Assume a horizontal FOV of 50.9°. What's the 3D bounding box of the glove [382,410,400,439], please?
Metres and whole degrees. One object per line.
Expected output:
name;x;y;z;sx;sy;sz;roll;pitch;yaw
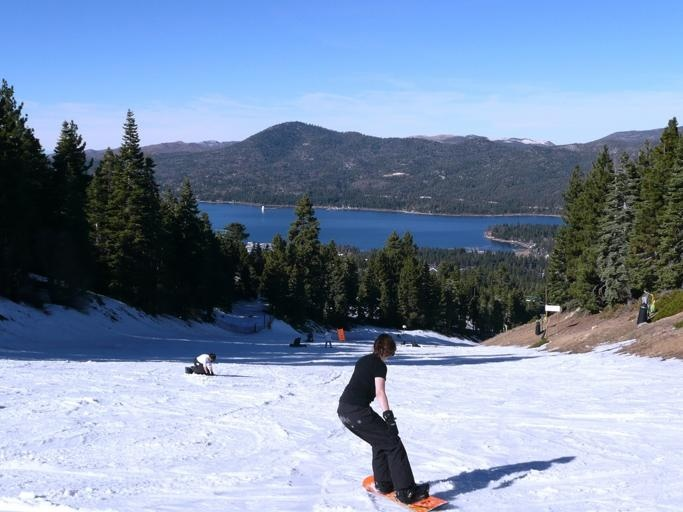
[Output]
glove;1.109;3.771;16.514;0.316;0.605;0.669;2;7;4

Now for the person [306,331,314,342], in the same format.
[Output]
person;-2.466;6.460;56.237;0.749;0.849;0.835;-2;6;-23

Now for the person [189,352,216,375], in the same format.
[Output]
person;-5.197;4.105;27.022;0.852;0.948;1.601;0;7;-8

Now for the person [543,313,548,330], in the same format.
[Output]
person;16.408;5.396;58.014;0.250;1.278;1.076;0;-3;19
